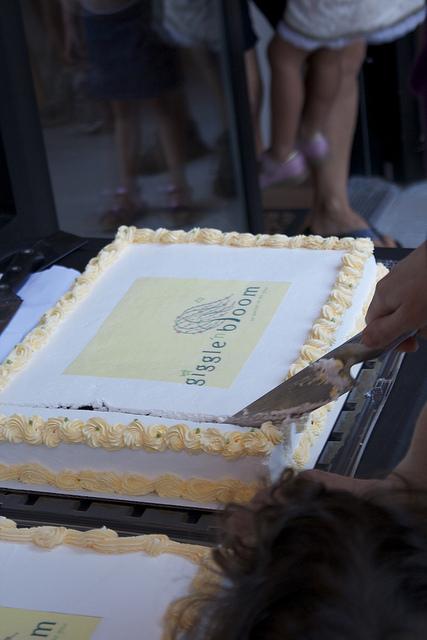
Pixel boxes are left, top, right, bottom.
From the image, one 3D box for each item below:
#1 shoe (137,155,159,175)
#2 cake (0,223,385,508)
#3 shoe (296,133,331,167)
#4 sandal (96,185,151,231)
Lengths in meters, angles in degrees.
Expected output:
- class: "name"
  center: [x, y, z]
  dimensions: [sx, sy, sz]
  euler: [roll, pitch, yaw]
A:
- class: "shoe"
  center: [-0.362, -0.843, 3.050]
  dimensions: [0.095, 0.096, 0.026]
  euler: [35, 10, -8]
- class: "cake"
  center: [-0.047, 0.113, 1.195]
  dimensions: [0.731, 0.176, 0.657]
  euler: [4, 37, 16]
- class: "shoe"
  center: [0.524, -0.905, 2.951]
  dimensions: [0.176, 0.166, 0.039]
  euler: [0, 27, 6]
- class: "sandal"
  center: [-0.513, -0.615, 3.166]
  dimensions: [0.187, 0.278, 0.255]
  euler: [-3, 26, -14]
